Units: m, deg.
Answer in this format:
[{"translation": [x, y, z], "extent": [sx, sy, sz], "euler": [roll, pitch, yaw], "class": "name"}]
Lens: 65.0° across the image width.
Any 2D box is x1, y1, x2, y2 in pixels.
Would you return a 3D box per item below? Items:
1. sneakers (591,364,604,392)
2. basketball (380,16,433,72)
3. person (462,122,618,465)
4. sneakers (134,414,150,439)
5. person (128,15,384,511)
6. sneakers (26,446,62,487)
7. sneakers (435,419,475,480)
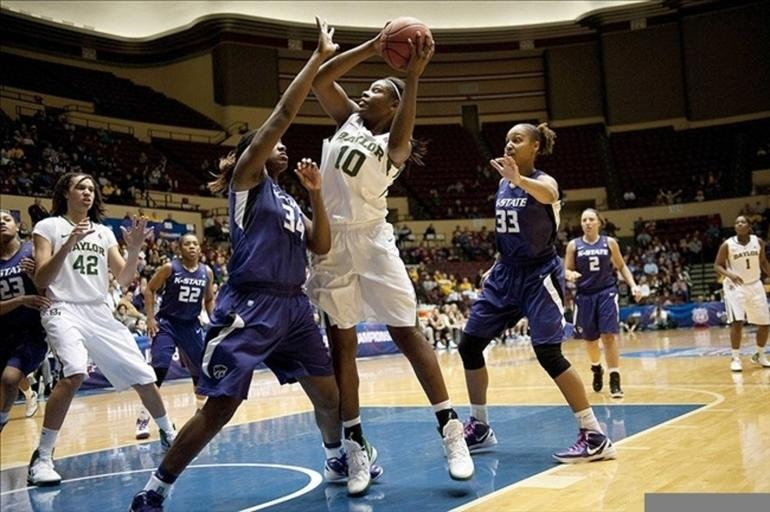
[{"translation": [2.855, 1.637, 8.147], "extent": [0.131, 0.451, 0.186], "euler": [-2, -11, 31], "class": "sneakers"}, {"translation": [0.168, -1.701, 4.772], "extent": [0.403, 0.378, 0.252], "euler": [-4, -2, 22], "class": "basketball"}, {"translation": [1.248, 0.440, 5.310], "extent": [1.250, 2.694, 0.629], "euler": [-4, -1, 20], "class": "person"}, {"translation": [-2.821, 2.001, 7.040], "extent": [0.130, 0.192, 0.409], "euler": [1, -9, -8], "class": "sneakers"}, {"translation": [-1.016, 0.053, 4.581], "extent": [1.410, 2.690, 0.611], "euler": [-3, -1, -14], "class": "person"}, {"translation": [-3.028, 1.864, 5.349], "extent": [0.318, 0.295, 0.201], "euler": [-3, -2, -12], "class": "sneakers"}, {"translation": [0.570, 1.511, 4.741], "extent": [0.231, 0.422, 0.290], "euler": [-3, -2, 5], "class": "sneakers"}]
